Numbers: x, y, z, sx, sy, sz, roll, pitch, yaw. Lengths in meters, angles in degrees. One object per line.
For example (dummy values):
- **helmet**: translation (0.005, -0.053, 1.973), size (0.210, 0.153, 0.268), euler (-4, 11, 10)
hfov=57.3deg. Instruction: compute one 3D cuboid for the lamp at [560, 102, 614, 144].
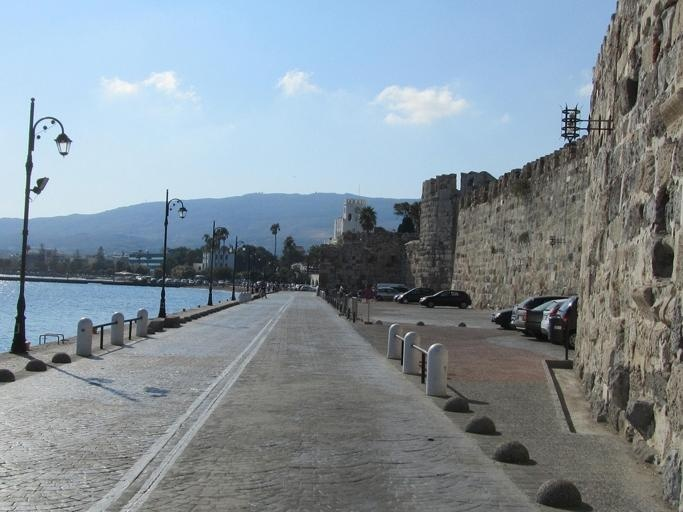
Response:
- **lamp**: translation (7.039, -4.101, 19.139), size (0.491, 1.175, 1.471), euler (3, 5, 21)
